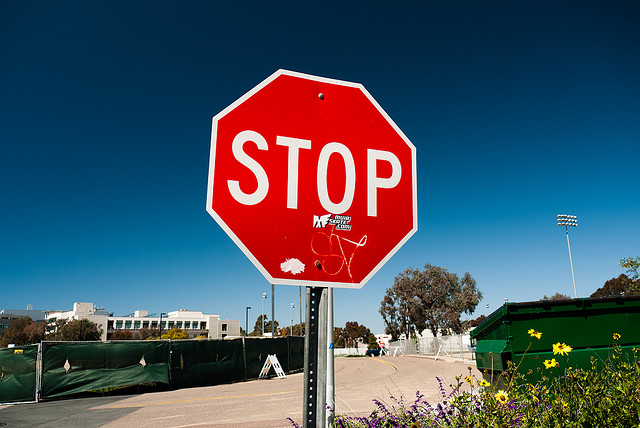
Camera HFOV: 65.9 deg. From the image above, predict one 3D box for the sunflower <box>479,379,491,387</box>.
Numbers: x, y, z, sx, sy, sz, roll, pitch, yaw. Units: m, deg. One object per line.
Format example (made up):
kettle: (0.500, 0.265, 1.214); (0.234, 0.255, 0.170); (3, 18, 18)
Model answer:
sunflower: (2.288, 2.401, 6.953); (0.154, 0.149, 0.041); (4, -24, -43)

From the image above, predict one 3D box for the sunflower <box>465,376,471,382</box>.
sunflower: (2.080, 2.348, 6.961); (0.092, 0.057, 0.121); (2, -18, 0)

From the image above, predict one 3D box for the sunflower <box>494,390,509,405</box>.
sunflower: (2.396, 2.506, 6.636); (0.195, 0.193, 0.054); (27, -38, 27)

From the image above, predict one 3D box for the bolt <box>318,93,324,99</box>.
bolt: (0.004, -1.452, 6.028); (0.066, 0.066, 0.016); (8, -2, 5)

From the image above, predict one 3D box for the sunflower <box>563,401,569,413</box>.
sunflower: (3.204, 2.561, 6.518); (0.054, 0.160, 0.101); (-6, -19, 23)
